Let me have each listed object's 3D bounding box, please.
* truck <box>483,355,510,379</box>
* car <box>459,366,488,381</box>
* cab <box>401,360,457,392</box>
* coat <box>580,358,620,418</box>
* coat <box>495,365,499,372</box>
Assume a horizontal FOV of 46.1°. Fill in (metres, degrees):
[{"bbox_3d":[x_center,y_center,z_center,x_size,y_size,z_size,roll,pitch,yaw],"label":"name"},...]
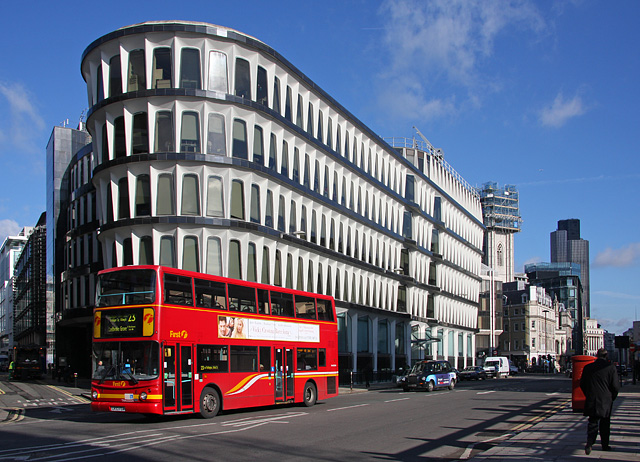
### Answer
[{"bbox_3d":[18.927,14.516,80.931,1.959,2.041,3.608,-6,-17,24],"label":"truck"},{"bbox_3d":[15.181,14.083,74.728,1.298,1.038,3.321,-8,-16,25],"label":"car"},{"bbox_3d":[7.747,10.056,52.552,1.825,1.590,3.514,-9,-17,32],"label":"cab"},{"bbox_3d":[9.299,5.183,24.841,1.142,1.916,0.706,-1,-4,2],"label":"coat"},{"bbox_3d":[18.781,14.504,79.471,0.429,0.866,0.471,-1,0,12],"label":"coat"}]
